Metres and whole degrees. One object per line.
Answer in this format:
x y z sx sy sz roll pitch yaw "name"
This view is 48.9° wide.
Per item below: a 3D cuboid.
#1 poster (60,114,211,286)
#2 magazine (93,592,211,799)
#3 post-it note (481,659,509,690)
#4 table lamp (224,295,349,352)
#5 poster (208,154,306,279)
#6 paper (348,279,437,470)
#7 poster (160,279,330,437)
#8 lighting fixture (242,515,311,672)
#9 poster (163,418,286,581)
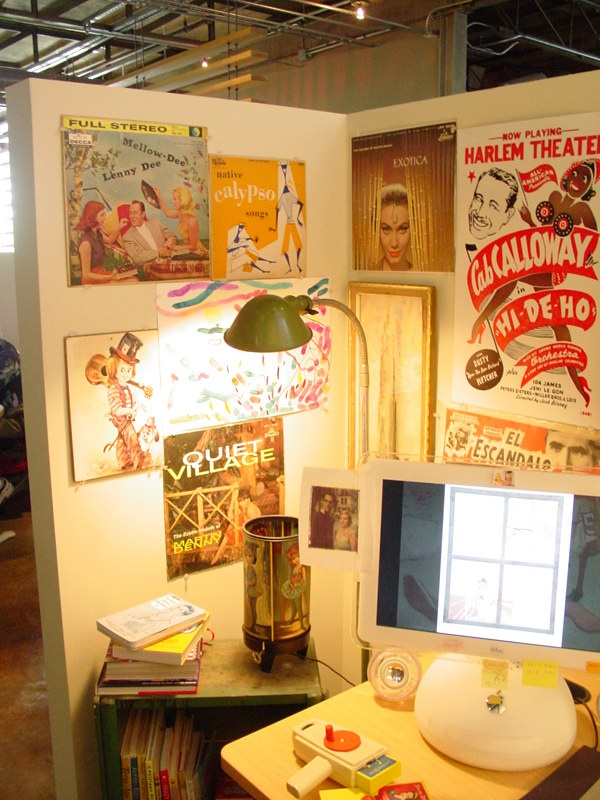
-0.391 -0.478 1.619 0.014 0.392 0.409 28 33 37 "poster"
-0.348 0.735 1.605 0.258 0.446 0.253 -3 -4 -6 "magazine"
0.360 0.506 1.217 0.064 0.064 0.010 5 -15 -2 "post-it note"
-0.032 -0.195 1.499 0.304 0.102 0.198 -13 27 -36 "table lamp"
-0.130 -0.515 1.816 0.344 0.332 0.031 -14 21 -40 "poster"
0.277 -0.105 1.921 0.129 0.533 0.366 -2 -4 -25 "paper"
-0.146 -0.143 1.859 0.587 0.401 0.010 -9 14 -37 "poster"
-0.060 0.487 1.648 0.170 0.370 0.199 -3 -4 -7 "lighting fixture"
-0.224 0.279 1.824 0.452 0.433 0.020 -12 17 -37 "poster"
